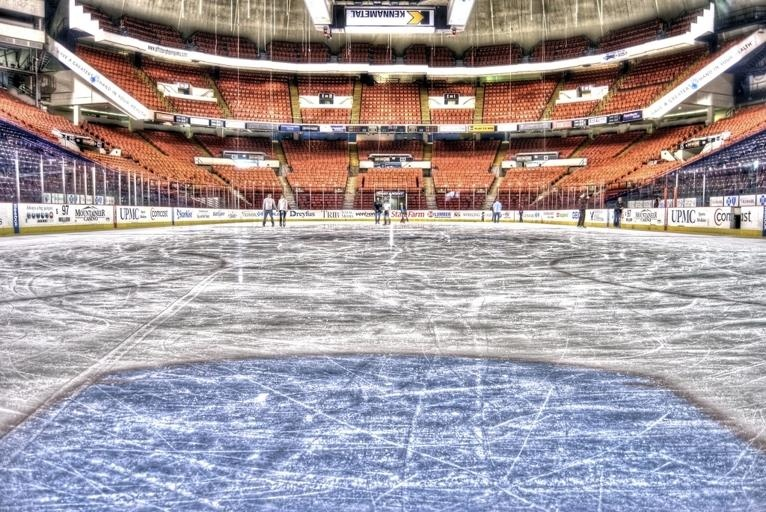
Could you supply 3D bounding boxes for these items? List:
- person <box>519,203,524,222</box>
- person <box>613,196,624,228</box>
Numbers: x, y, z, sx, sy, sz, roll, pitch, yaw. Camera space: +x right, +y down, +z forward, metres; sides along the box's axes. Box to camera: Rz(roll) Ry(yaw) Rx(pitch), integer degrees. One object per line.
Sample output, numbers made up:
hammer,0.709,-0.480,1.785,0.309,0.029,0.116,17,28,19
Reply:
person,9.081,-2.894,38.652,0.296,1.188,0.409,-3,13,-14
person,11.600,-2.208,29.085,0.431,1.424,2.100,5,12,21
